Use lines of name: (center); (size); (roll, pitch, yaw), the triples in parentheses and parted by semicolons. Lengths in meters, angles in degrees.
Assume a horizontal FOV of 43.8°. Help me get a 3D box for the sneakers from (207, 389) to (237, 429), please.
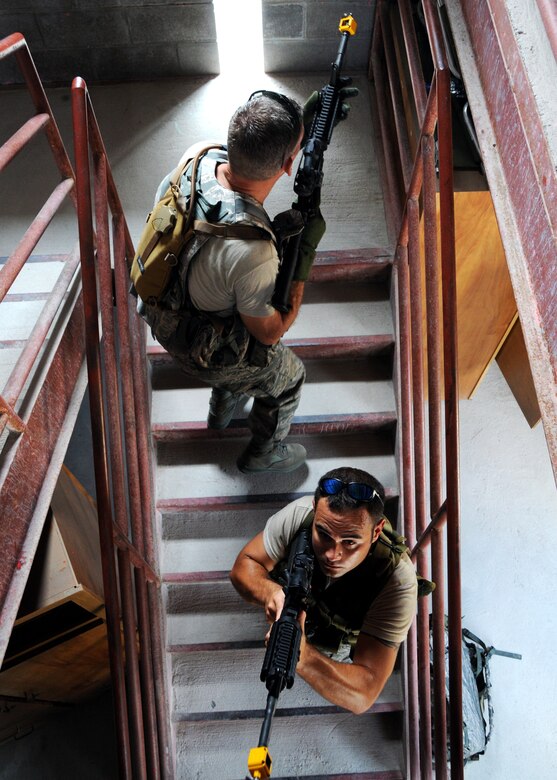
sneakers: (-0.230, 0.075, 2.811); (0.053, 0.153, 0.109); (7, 13, 7)

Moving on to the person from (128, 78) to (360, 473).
person: (-0.163, -0.195, 2.440); (0.613, 1.697, 0.464); (-10, 59, -10)

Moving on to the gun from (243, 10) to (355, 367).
gun: (0.102, -0.707, 2.118); (0.204, 0.431, 1.197); (12, 84, 10)

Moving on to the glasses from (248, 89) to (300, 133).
glasses: (-0.004, -0.759, 1.882); (0.126, 0.050, 0.110); (26, 102, 8)

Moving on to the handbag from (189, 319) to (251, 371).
handbag: (-0.182, -0.137, 2.179); (0.137, 0.173, 0.074); (0, 47, -6)

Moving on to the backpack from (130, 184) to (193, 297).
backpack: (-0.346, -0.407, 1.998); (0.118, 0.306, 0.186); (8, 37, -37)

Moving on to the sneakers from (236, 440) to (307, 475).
sneakers: (0.004, 0.264, 2.981); (0.330, 0.221, 0.122); (-6, 73, -15)
